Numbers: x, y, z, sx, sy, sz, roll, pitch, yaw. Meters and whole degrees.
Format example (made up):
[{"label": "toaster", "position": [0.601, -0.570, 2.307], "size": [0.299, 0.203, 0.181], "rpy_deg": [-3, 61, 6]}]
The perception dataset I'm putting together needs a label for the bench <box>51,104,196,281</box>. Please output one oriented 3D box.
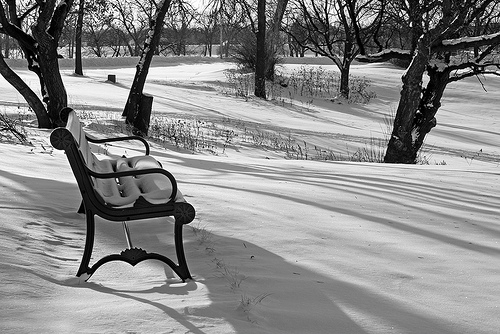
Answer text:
[{"label": "bench", "position": [-1.567, 0.162, 5.569], "size": [1.405, 1.609, 2.433], "rpy_deg": [-1, 16, -17]}]
